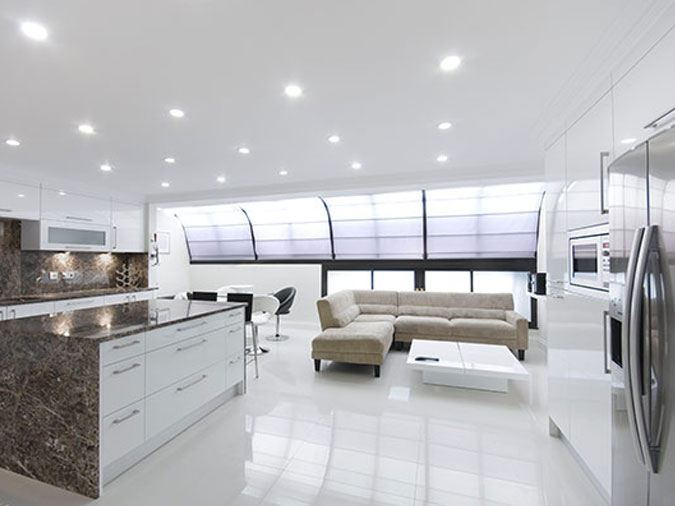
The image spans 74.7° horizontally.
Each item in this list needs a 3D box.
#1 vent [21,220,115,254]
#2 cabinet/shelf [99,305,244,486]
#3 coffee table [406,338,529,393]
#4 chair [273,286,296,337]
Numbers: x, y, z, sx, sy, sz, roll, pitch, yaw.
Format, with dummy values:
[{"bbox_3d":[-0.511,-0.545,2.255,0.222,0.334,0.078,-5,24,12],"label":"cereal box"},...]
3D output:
[{"bbox_3d":[-3.828,-0.239,6.325,0.316,0.558,1.123,7,13,30],"label":"vent"},{"bbox_3d":[-1.749,1.107,4.127,0.997,1.110,1.857,4,6,22],"label":"cabinet/shelf"},{"bbox_3d":[1.473,1.311,5.168,1.249,0.385,1.058,3,11,14],"label":"coffee table"},{"bbox_3d":[-0.962,0.990,7.273,0.511,0.803,0.563,-1,6,-16],"label":"chair"}]
